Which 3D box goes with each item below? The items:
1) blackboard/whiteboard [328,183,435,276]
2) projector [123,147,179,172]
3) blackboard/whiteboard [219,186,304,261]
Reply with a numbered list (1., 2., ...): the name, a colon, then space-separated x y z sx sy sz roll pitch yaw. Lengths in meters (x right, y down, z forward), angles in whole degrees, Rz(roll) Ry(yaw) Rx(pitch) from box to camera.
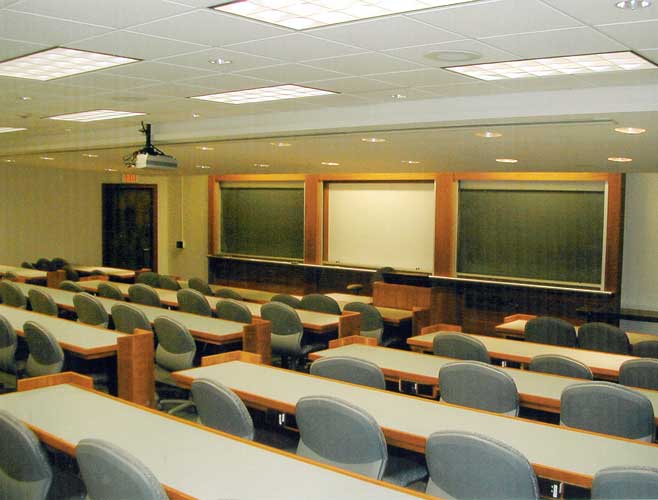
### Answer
1. blackboard/whiteboard: 1.103 -0.397 10.670 2.582 1.278 0.168 4 8 35
2. projector: -2.540 -1.302 7.637 0.703 0.186 0.630 5 6 24
3. blackboard/whiteboard: -1.506 -0.589 12.410 2.435 1.197 0.083 3 5 34
